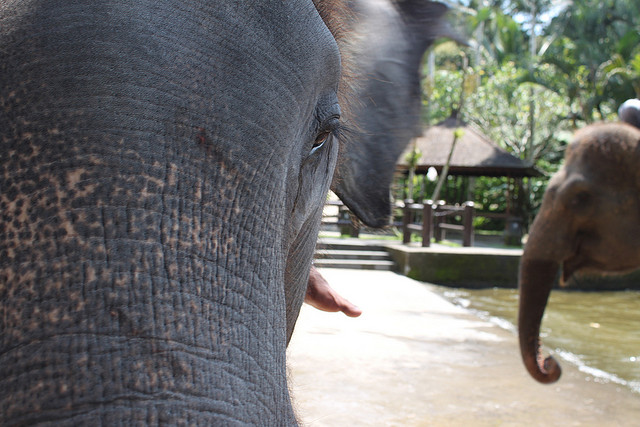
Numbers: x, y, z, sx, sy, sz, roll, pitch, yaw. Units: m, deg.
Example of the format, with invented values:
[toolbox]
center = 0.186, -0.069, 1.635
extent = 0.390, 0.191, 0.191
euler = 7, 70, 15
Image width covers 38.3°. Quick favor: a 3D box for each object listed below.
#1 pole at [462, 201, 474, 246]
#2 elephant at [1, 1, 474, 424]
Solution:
[pole]
center = 2.225, 0.124, 13.944
extent = 0.207, 0.684, 0.177
euler = 1, 4, 35
[elephant]
center = -0.388, -0.051, 2.715
extent = 0.995, 1.345, 0.561
euler = 2, 8, -25
